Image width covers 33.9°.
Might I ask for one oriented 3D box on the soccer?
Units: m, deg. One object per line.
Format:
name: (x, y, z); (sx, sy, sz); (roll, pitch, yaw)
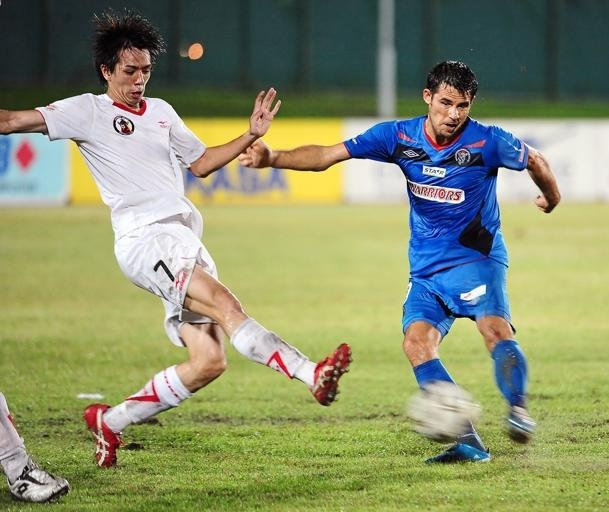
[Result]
soccer: (0.822, 0.926, 5.994); (0.412, 0.273, 0.346); (-4, 10, -28)

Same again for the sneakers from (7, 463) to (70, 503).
sneakers: (-1.539, 1.316, 5.840); (0.323, 0.166, 0.190); (1, 12, 6)

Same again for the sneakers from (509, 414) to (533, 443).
sneakers: (1.298, 1.045, 6.003); (0.160, 0.192, 0.101); (1, 9, 10)

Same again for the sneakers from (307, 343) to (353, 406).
sneakers: (0.153, 0.684, 5.767); (0.204, 0.411, 0.251); (-5, 9, -24)

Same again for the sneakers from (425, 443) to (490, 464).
sneakers: (0.981, 1.244, 6.330); (0.478, 0.163, 0.143); (-4, 0, 9)

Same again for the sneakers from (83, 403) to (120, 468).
sneakers: (-1.291, 1.152, 6.346); (0.227, 0.445, 0.158); (-15, -4, 30)
